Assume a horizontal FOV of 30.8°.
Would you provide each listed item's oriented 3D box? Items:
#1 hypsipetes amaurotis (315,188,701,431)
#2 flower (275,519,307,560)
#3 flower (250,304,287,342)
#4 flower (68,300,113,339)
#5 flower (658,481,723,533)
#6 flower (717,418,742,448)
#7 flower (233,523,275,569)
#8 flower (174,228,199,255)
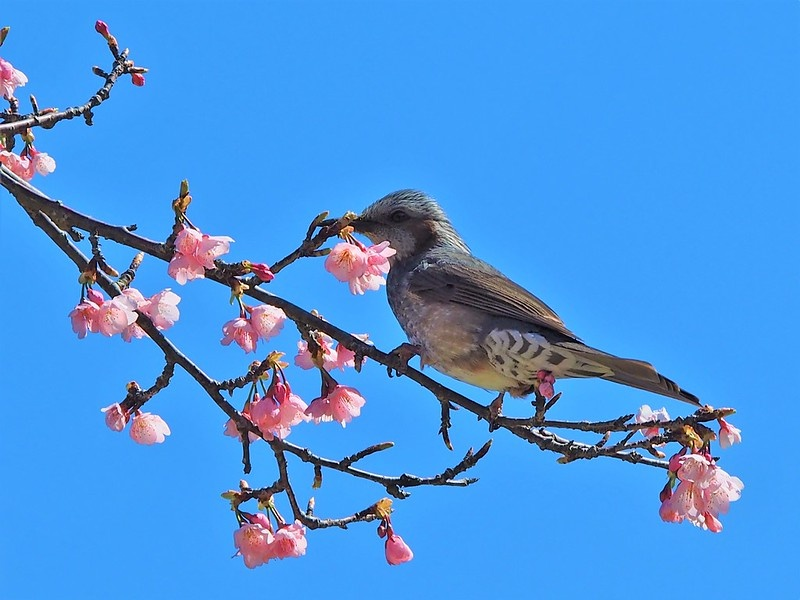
[{"bbox_3d":[0.816,0.031,9.742,2.376,0.765,1.516,3,-106,21],"label":"hypsipetes amaurotis"},{"bbox_3d":[-0.647,1.408,8.510,0.182,0.191,0.166,-5,-71,5],"label":"flower"},{"bbox_3d":[-0.783,0.126,8.563,0.183,0.261,0.188,-25,-74,11],"label":"flower"},{"bbox_3d":[-1.832,0.128,8.563,0.200,0.211,0.207,5,-71,1],"label":"flower"},{"bbox_3d":[1.696,1.173,8.390,0.247,0.338,0.245,-3,-79,15],"label":"flower"},{"bbox_3d":[1.869,0.774,8.307,0.119,0.200,0.126,-16,-72,9],"label":"flower"},{"bbox_3d":[-0.843,1.427,8.466,0.192,0.194,0.251,-26,-74,11],"label":"flower"},{"bbox_3d":[-1.221,-0.324,8.372,0.134,0.078,0.146,29,-72,-7],"label":"flower"}]
